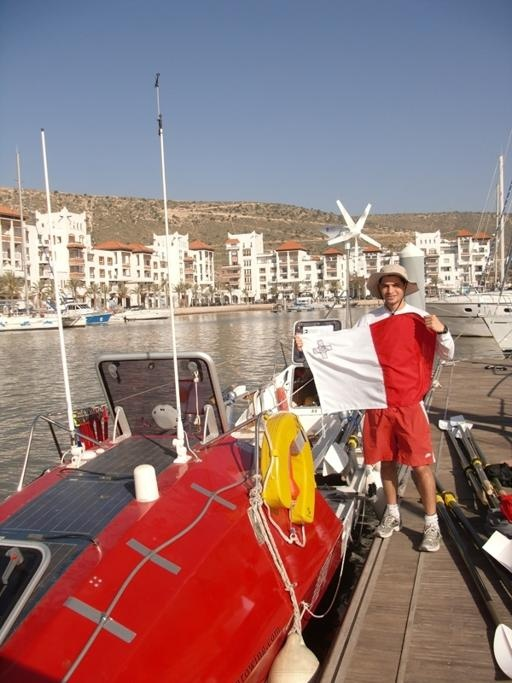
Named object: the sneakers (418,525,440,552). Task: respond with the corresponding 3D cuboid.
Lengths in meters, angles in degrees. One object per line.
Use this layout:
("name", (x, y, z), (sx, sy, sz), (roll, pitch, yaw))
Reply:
("sneakers", (1.444, 1.645, 4.249), (0.119, 0.116, 0.299), (-3, -12, 16))

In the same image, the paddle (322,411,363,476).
("paddle", (1.050, 1.301, 6.227), (0.338, 0.335, 1.007), (-4, 15, 23))

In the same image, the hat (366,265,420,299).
("hat", (1.099, -0.497, 4.236), (0.390, 0.162, 0.328), (0, -30, 13))
